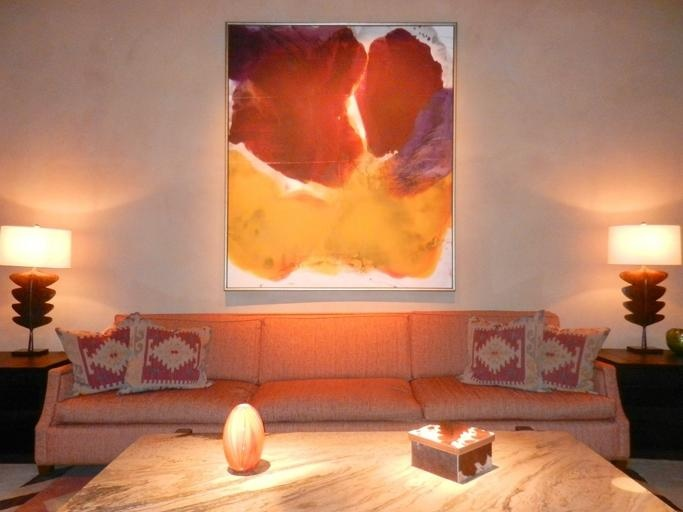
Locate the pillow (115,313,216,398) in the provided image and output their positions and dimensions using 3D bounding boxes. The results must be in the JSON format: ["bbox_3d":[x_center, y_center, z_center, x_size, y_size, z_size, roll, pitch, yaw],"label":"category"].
[{"bbox_3d":[-1.165,0.670,3.813,0.497,0.416,0.156,3,-28,-17],"label":"pillow"}]

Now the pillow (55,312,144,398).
[{"bbox_3d":[-1.589,0.664,3.804,0.470,0.356,0.159,-11,11,-23],"label":"pillow"}]

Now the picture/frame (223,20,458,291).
[{"bbox_3d":[-0.011,-0.729,4.426,2.190,2.264,0.078,0,-1,-5],"label":"picture/frame"}]

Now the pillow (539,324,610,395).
[{"bbox_3d":[1.465,0.657,3.742,0.442,0.396,0.132,5,-4,25],"label":"pillow"}]

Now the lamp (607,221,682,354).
[{"bbox_3d":[2.217,0.236,4.260,0.487,0.905,0.526,-1,-3,24],"label":"lamp"}]
